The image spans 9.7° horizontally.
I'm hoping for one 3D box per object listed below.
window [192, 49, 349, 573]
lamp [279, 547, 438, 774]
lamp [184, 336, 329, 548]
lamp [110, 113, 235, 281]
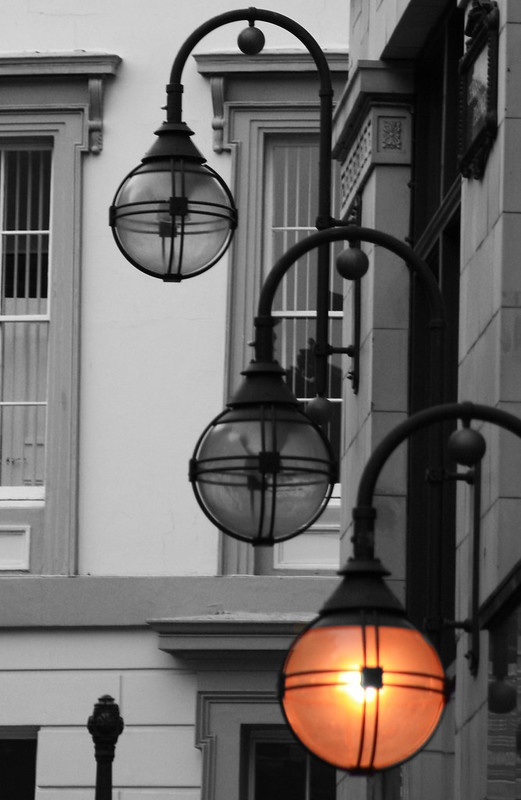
[{"bbox_3d":[0.293,-0.714,24.420,1.107,4.420,0.470,4,27,11],"label":"window"},{"bbox_3d":[0.452,1.158,13.781,0.591,1.155,0.722,1,-14,-1],"label":"lamp"},{"bbox_3d":[-0.004,0.241,15.302,0.647,1.193,0.670,14,-22,-32],"label":"lamp"},{"bbox_3d":[-0.483,-1.071,16.186,0.555,1.061,0.671,1,-18,5],"label":"lamp"}]
